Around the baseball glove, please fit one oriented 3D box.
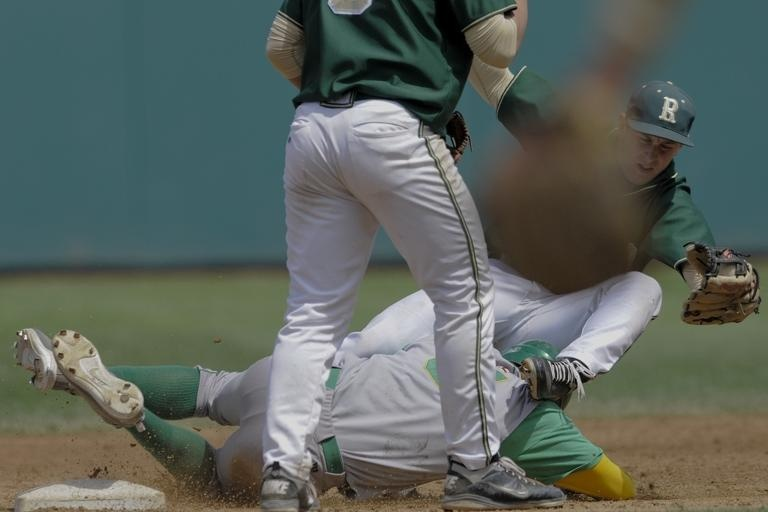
[{"bbox_3d":[3.004,0.274,12.198,0.588,0.762,0.396,2,49,4],"label":"baseball glove"}]
